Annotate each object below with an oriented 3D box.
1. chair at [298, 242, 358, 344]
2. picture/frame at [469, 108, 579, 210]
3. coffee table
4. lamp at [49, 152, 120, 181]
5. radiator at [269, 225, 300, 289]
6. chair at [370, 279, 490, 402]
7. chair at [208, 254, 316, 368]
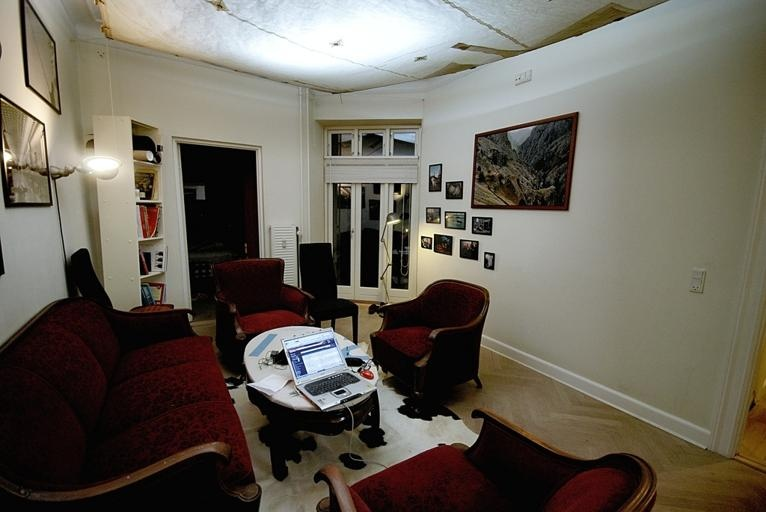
[{"bbox_3d":[-0.692,0.485,6.307,0.608,1.171,0.669,-4,16,-29],"label":"chair"},{"bbox_3d":[1.629,-1.094,5.676,1.193,0.960,0.042,11,11,41],"label":"picture/frame"},{"bbox_3d":[-0.589,1.238,4.536,1.149,0.729,1.503,-6,22,-26],"label":"coffee table"},{"bbox_3d":[-2.770,-0.842,4.748,0.482,0.138,0.351,-7,22,-23],"label":"lamp"},{"bbox_3d":[-1.400,0.047,7.214,0.385,0.972,0.085,-2,28,-12],"label":"radiator"},{"bbox_3d":[0.509,0.849,5.414,1.069,1.032,1.109,-3,12,-22],"label":"chair"},{"bbox_3d":[-1.353,0.664,5.735,0.946,1.178,1.028,-6,10,-28],"label":"chair"}]
